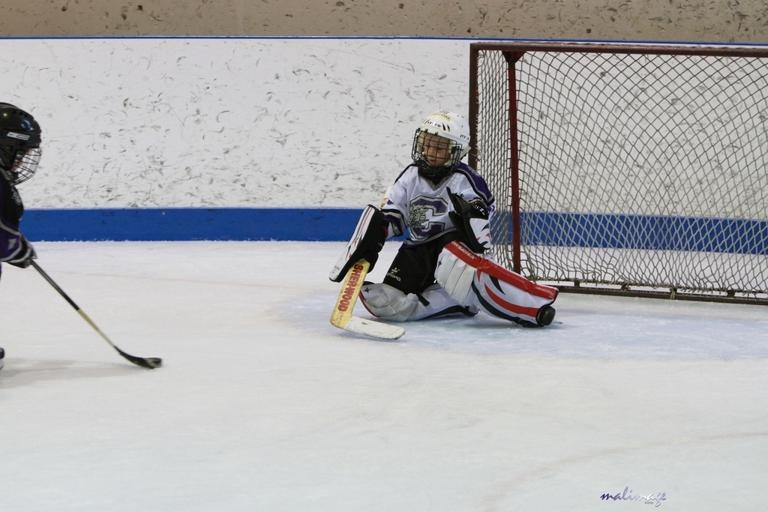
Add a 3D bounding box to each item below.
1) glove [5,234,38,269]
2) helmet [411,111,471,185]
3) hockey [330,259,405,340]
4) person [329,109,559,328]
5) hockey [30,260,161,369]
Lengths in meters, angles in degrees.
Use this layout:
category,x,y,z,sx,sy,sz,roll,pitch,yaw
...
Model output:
category,x,y,z,sx,sy,sz,roll,pitch,yaw
glove,-1.564,-0.011,3.765,0.143,0.145,0.141,2,-15,-12
helmet,0.298,-0.586,4.601,0.321,0.305,0.356,10,18,15
hockey,-0.104,0.204,4.292,0.315,0.506,0.013,-5,36,6
person,0.398,-0.065,4.882,1.589,1.179,1.131,-1,-3,13
hockey,-1.463,0.307,4.482,0.679,0.091,0.093,39,-1,2
